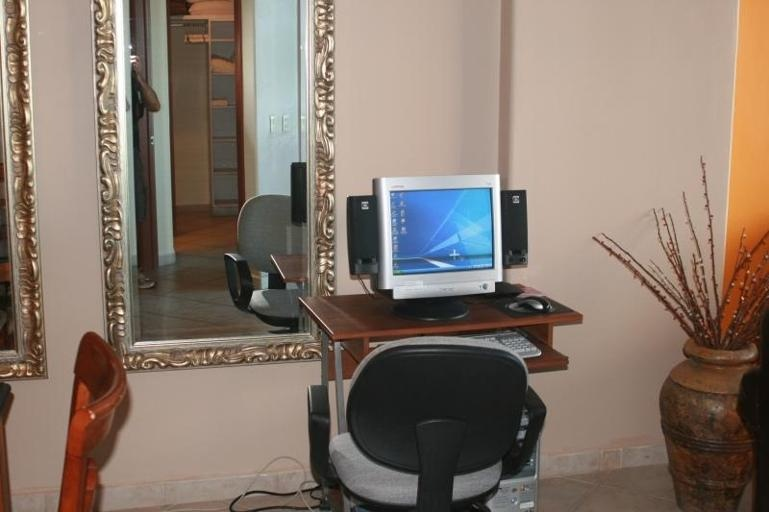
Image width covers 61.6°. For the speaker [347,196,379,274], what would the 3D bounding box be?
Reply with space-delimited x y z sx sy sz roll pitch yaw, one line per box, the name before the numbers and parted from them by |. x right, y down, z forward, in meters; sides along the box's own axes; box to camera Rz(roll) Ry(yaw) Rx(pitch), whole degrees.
speaker | -0.107 -0.098 3.048 0.148 0.369 0.150 -9 15 -22

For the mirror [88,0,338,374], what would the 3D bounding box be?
mirror | -0.817 -0.342 3.243 1.238 1.828 0.364 -4 14 -3

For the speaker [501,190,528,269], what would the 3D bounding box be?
speaker | 0.649 -0.142 3.259 0.130 0.373 0.101 -3 14 2

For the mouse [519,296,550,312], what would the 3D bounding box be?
mouse | 0.715 0.229 3.074 0.137 0.056 0.123 1 13 17

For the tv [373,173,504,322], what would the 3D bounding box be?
tv | 0.258 -0.094 3.041 0.591 0.566 0.228 -3 14 0
